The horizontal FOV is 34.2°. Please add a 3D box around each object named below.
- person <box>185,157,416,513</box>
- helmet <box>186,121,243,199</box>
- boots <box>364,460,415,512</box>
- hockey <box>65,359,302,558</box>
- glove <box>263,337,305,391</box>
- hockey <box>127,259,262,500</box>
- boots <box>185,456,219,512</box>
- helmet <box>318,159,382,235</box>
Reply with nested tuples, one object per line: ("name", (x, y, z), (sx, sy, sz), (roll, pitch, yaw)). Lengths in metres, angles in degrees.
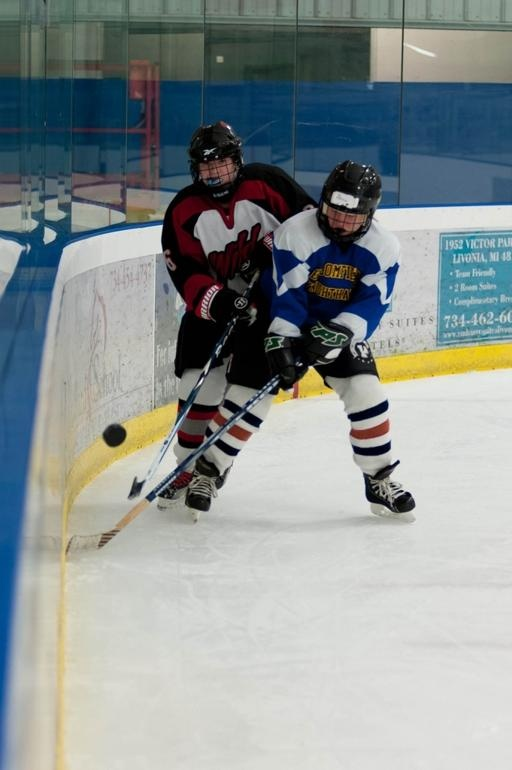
("person", (0.175, -0.127, 2.684), (0.731, 1.149, 0.329), (2, 12, 5))
("helmet", (-0.129, -0.707, 2.618), (0.163, 0.224, 0.198), (0, 12, -2))
("boots", (0.445, 0.357, 2.797), (0.072, 0.163, 0.209), (-7, -2, -30))
("hockey", (-0.267, 0.261, 2.846), (0.116, 0.133, 0.814), (27, 58, 32))
("glove", (0.101, -0.069, 2.618), (0.081, 0.158, 0.125), (-6, 15, -31))
("hockey", (-0.221, -0.015, 2.951), (0.082, 1.092, 0.123), (37, -26, -16))
("boots", (-0.171, 0.333, 2.748), (0.081, 0.095, 0.222), (16, 36, -15))
("helmet", (0.289, -0.573, 2.569), (0.183, 0.206, 0.226), (17, 37, 9))
